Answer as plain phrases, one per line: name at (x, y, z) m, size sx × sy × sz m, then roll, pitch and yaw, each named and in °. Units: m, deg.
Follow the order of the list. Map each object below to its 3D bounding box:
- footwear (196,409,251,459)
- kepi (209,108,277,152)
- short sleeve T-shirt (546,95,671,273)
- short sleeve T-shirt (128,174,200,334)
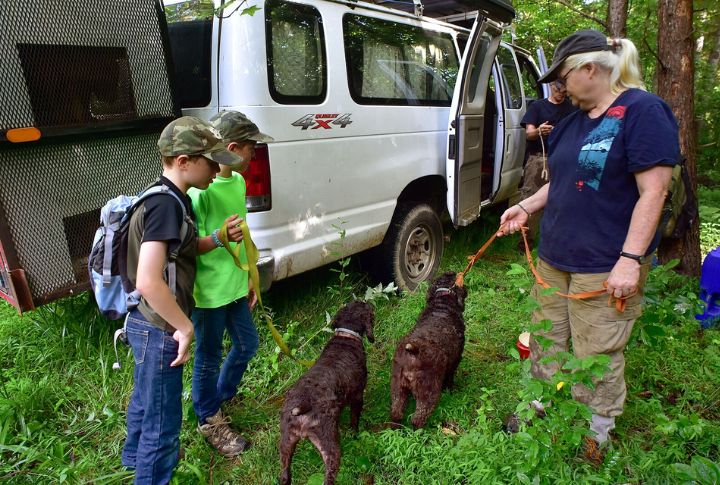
footwear at (-1.088, 1.535, 4.108) m, size 0.523 × 0.260 × 0.222 m, roll 37°, pitch 45°, yaw 10°
kepi at (-0.906, -0.876, 3.873) m, size 0.405 × 0.203 × 0.270 m, roll -7°, pitch 35°, yaw -27°
short sleeve T-shirt at (1.726, -0.412, 3.508) m, size 0.594 × 1.073 × 1.078 m, roll -3°, pitch 13°, yaw -19°
short sleeve T-shirt at (-1.336, 0.058, 3.403) m, size 0.528 × 0.939 × 0.320 m, roll -13°, pitch 20°, yaw -26°
